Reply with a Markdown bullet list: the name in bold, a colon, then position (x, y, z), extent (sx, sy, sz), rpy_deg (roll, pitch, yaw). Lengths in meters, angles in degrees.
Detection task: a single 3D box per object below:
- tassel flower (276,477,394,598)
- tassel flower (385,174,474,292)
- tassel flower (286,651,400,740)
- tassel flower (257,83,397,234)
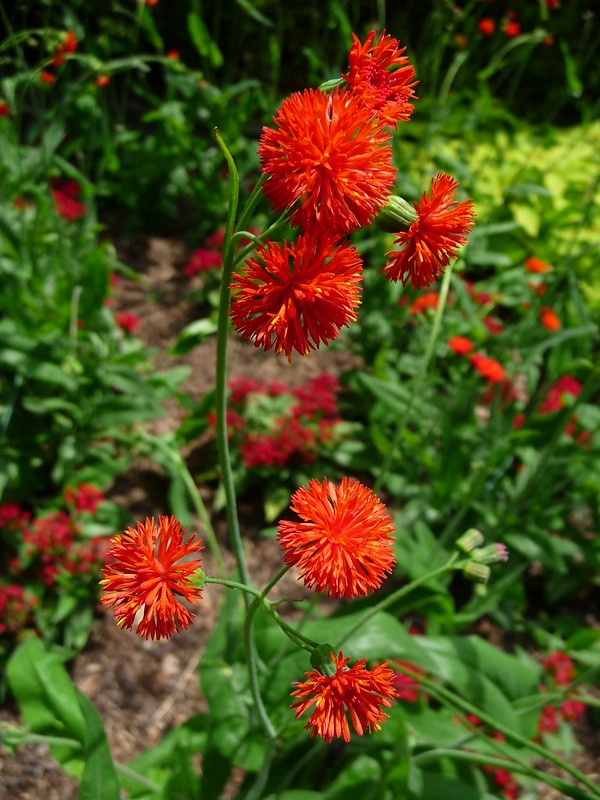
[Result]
- **tassel flower**: position (0.037, 0.134, 0.721), extent (0.112, 0.064, 0.103), rpy_deg (11, 43, -5)
- **tassel flower**: position (0.117, -0.177, 0.757), extent (0.093, 0.112, 0.068), rpy_deg (-8, 87, -30)
- **tassel flower**: position (0.041, 0.282, 0.718), extent (0.094, 0.048, 0.086), rpy_deg (11, 13, -6)
- **tassel flower**: position (0.030, -0.245, 0.704), extent (0.135, 0.134, 0.071), rpy_deg (13, 80, 32)
